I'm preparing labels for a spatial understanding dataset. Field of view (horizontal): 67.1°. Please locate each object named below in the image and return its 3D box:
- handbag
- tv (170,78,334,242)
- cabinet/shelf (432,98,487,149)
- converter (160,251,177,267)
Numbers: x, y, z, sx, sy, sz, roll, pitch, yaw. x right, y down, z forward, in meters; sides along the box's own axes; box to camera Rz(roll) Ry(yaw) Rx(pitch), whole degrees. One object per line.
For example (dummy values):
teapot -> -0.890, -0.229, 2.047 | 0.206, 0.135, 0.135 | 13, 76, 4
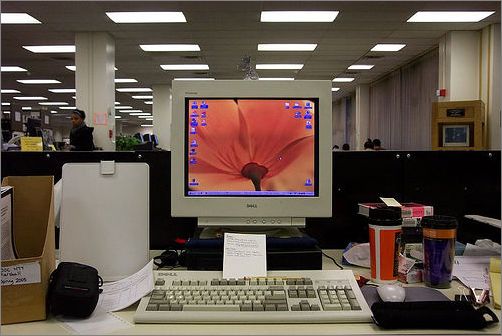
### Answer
handbag -> -0.617, 0.417, 1.308 | 0.156, 0.178, 0.188 | 19, -3, -35
tv -> 0.008, -0.054, 1.653 | 0.647, 0.589, 0.350 | 0, 2, 4
cabinet/shelf -> 1.181, -0.224, 2.087 | 0.205, 0.270, 0.287 | -9, 9, -36
converter -> -0.332, 0.363, 1.515 | 0.057, 0.052, 0.047 | -2, -36, -7
